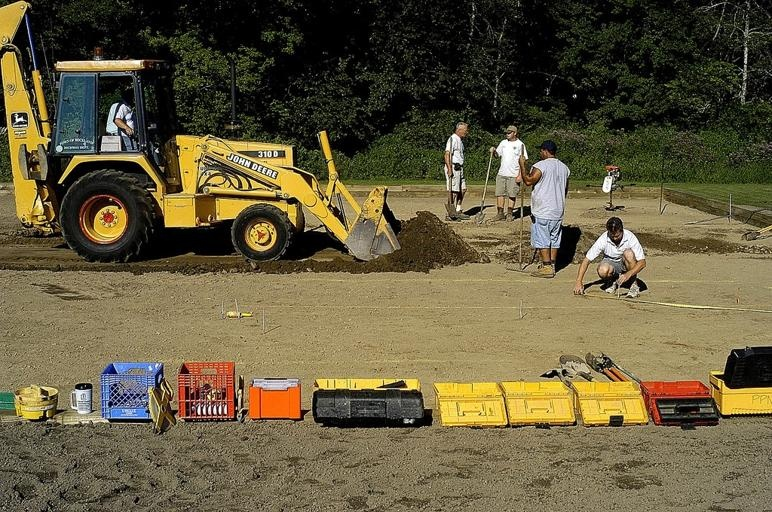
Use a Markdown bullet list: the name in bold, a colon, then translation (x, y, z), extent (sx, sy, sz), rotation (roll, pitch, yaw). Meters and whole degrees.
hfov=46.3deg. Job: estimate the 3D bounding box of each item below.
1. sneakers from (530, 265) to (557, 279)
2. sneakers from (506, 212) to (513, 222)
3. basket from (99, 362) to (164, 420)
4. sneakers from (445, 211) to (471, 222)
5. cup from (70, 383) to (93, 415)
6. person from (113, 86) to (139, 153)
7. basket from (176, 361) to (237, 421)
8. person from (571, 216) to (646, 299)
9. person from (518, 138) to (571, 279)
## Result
- **sneakers**: translation (2.870, 0.278, 16.203), extent (0.494, 0.246, 0.204), rotation (2, 4, 20)
- **sneakers**: translation (2.900, -0.913, 21.135), extent (0.206, 0.195, 0.457), rotation (-1, -1, 8)
- **basket**: translation (-3.233, 1.658, 11.446), extent (0.712, 0.482, 0.730), rotation (1, 0, 4)
- **sneakers**: translation (1.712, -0.931, 21.176), extent (0.487, 0.200, 0.213), rotation (0, 8, -10)
- **cup**: translation (-3.862, 1.806, 11.428), extent (0.268, 0.359, 0.230), rotation (-4, 15, -16)
- **person**: translation (-4.848, -2.508, 16.663), extent (0.416, 1.088, 0.505), rotation (-6, 16, -23)
- **basket**: translation (-2.289, 1.704, 11.532), extent (0.719, 0.481, 0.732), rotation (-1, 9, -5)
- **person**: translation (3.754, -0.018, 15.249), extent (1.024, 1.230, 1.459), rotation (3, 20, 20)
- **person**: translation (2.862, -0.854, 16.242), extent (0.793, 2.371, 0.914), rotation (3, 14, 10)
